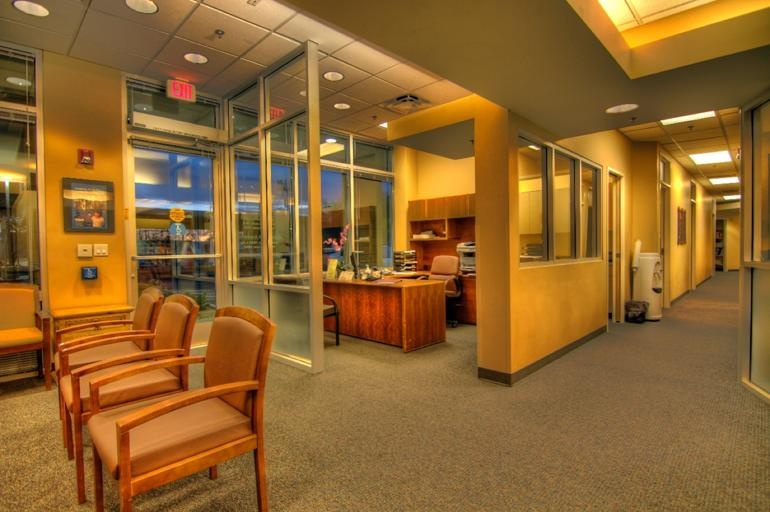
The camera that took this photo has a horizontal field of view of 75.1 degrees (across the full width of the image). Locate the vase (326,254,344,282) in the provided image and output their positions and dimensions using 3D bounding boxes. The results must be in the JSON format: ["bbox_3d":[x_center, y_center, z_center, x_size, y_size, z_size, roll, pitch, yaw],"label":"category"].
[{"bbox_3d":[-0.852,0.222,8.513,0.402,0.584,0.196,-7,-14,38],"label":"vase"}]

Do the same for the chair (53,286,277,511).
[{"bbox_3d":[-2.026,1.411,4.616,1.860,1.825,1.089,1,2,37],"label":"chair"}]

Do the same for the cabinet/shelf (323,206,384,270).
[{"bbox_3d":[-0.667,-0.374,9.918,1.344,1.260,0.421,-2,6,-39],"label":"cabinet/shelf"}]

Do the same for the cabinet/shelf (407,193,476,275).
[{"bbox_3d":[1.181,-0.465,10.095,1.695,1.620,0.508,-3,-4,37],"label":"cabinet/shelf"}]

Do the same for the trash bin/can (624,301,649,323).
[{"bbox_3d":[4.600,1.036,9.120,0.413,0.379,0.375,-3,-8,26],"label":"trash bin/can"}]
